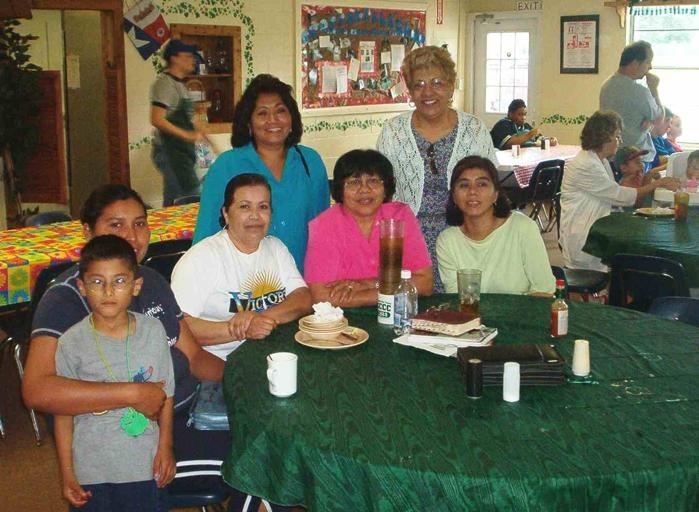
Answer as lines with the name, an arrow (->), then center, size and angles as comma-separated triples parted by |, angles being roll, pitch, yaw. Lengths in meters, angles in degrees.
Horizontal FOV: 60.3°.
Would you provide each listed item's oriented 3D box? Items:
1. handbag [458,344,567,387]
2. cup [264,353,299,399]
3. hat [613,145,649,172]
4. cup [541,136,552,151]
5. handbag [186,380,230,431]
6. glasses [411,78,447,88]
handbag -> 0.520, 0.328, 1.875 | 0.180, 0.050, 0.179 | -2, 6, 1
cup -> -0.196, 0.354, 1.811 | 0.089, 0.123, 0.132 | 6, 12, 23
hat -> 2.551, -0.919, 5.498 | 0.329, 0.170, 0.238 | -29, 3, 17
cup -> 2.582, -1.467, 7.885 | 0.140, 0.213, 0.218 | -1, 7, 10
handbag -> -0.489, 0.530, 2.111 | 0.179, 0.041, 0.179 | -1, 13, -9
glasses -> 0.413, -0.886, 3.089 | 0.188, 0.059, 0.061 | -1, 10, -1
